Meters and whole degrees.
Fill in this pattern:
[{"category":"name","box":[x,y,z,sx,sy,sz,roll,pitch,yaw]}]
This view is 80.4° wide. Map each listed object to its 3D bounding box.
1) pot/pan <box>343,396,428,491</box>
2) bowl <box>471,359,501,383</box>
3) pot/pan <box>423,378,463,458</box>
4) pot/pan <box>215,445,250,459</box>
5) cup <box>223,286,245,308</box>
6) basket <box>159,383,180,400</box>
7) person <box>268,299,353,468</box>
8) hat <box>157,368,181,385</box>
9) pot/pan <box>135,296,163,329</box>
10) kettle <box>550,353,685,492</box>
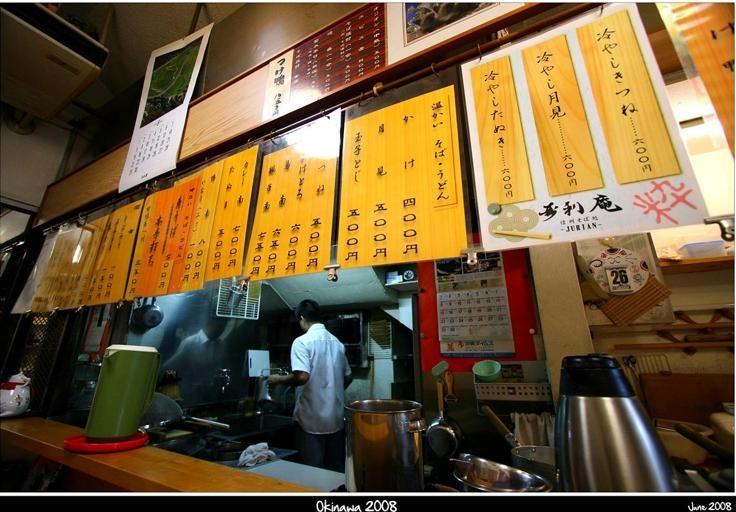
[{"category":"pot/pan","box":[0.082,0.939,2.294,0.493,0.416,0.428,1,-17,-2]},{"category":"bowl","box":[0.795,0.787,2.904,0.202,0.073,0.194,-15,20,6]},{"category":"pot/pan","box":[0.481,0.901,2.562,0.297,0.474,0.079,-5,-12,28]},{"category":"pot/pan","box":[-0.980,1.421,3.133,0.130,0.042,0.127,16,-19,-42]},{"category":"cup","box":[-1.654,0.519,5.430,0.261,0.283,0.139,-12,13,-18]},{"category":"basket","box":[-2.067,1.430,4.582,0.201,0.171,0.143,-2,-11,0]},{"category":"person","box":[-0.524,1.263,4.144,0.546,1.530,0.820,-6,13,12]},{"category":"hat","box":[-2.133,1.290,4.655,0.204,0.175,0.194,8,-19,-30]},{"category":"pot/pan","box":[-2.389,0.642,4.869,0.254,0.297,0.606,10,5,-29]},{"category":"kettle","box":[1.093,0.757,1.952,0.472,0.575,0.242,-4,14,14]}]
